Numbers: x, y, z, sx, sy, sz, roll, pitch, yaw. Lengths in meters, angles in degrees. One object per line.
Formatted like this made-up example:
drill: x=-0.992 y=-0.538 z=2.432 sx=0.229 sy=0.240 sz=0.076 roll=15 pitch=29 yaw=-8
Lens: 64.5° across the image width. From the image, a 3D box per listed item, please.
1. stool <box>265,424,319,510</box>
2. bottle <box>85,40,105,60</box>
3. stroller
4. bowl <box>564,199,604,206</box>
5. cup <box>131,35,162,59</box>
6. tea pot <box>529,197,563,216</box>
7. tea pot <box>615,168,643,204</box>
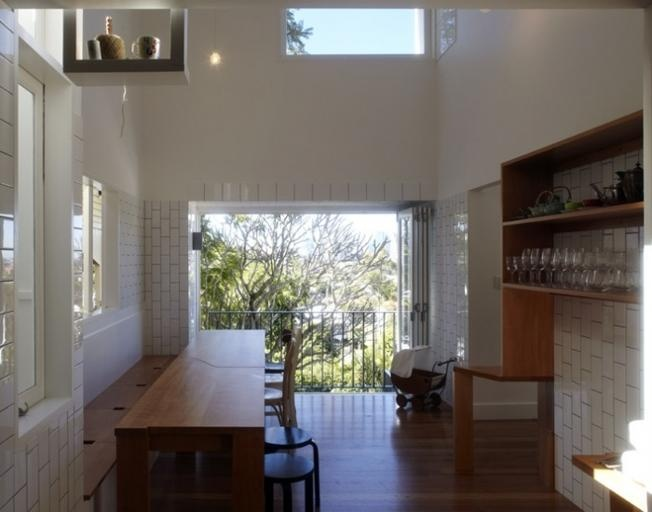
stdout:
stool: x=-0.223 y=1.430 z=3.406 sx=0.449 sy=0.537 sz=0.431 roll=0 pitch=-1 yaw=0
bottle: x=-1.150 y=-1.014 z=2.548 sx=0.066 sy=0.100 sz=0.052 roll=0 pitch=3 yaw=-15
stroller: x=1.011 y=1.258 z=5.485 sx=0.665 sy=0.630 sz=0.544 roll=1 pitch=3 yaw=-1
bowl: x=1.465 y=-0.296 z=2.924 sx=0.085 sy=0.043 sz=0.237 roll=0 pitch=3 yaw=-10
cup: x=-0.925 y=-1.040 z=2.638 sx=0.125 sy=0.115 sz=0.143 roll=4 pitch=17 yaw=-5
tea pot: x=1.393 y=-0.298 z=3.204 sx=0.168 sy=0.081 sz=0.121 roll=-4 pitch=4 yaw=-27
tea pot: x=1.538 y=-0.365 z=2.607 sx=0.114 sy=0.194 sz=0.187 roll=2 pitch=4 yaw=30
